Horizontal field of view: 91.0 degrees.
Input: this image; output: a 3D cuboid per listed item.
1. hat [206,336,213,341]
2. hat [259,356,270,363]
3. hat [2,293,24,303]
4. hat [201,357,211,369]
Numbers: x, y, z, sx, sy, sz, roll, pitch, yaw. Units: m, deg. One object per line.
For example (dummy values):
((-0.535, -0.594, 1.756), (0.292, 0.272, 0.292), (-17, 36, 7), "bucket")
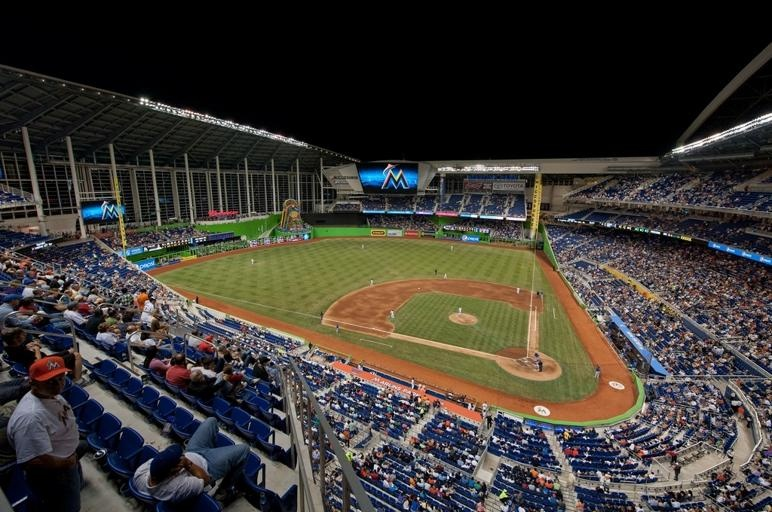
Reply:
((-8.242, 3.863, 17.800), (0.317, 0.133, 0.282), (4, 2, 10), "hat")
((-4.999, 4.302, 15.611), (0.380, 0.191, 0.294), (1, 4, -8), "hat")
((-13.013, 1.461, 13.230), (0.510, 0.235, 0.396), (9, 10, 39), "hat")
((-6.341, 3.777, 13.441), (0.363, 0.361, 0.405), (7, 9, -1), "hat")
